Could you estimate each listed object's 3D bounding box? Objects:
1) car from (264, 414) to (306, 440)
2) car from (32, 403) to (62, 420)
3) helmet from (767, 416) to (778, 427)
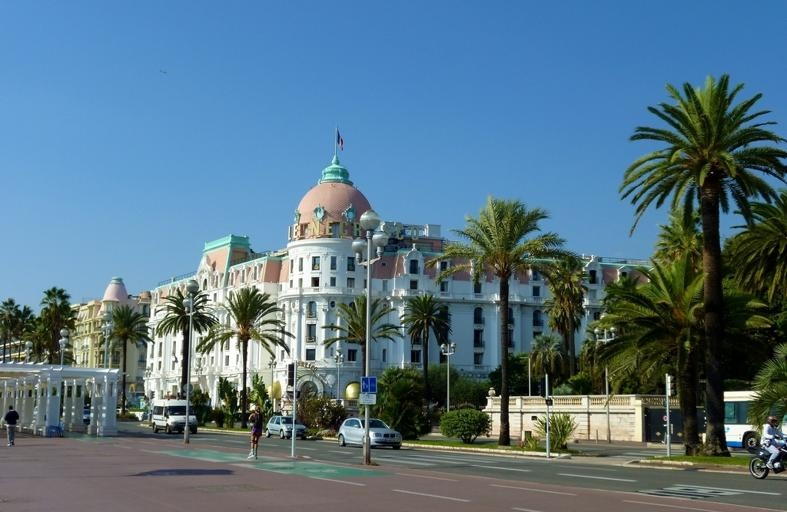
[{"bbox_3d":[-7.841,12.656,66.325,2.055,1.882,6.059,5,-14,-18],"label":"car"},{"bbox_3d":[-23.598,10.659,61.005,1.004,1.135,4.081,8,-15,-29],"label":"car"},{"bbox_3d":[16.552,7.169,38.826,0.352,0.357,0.320,-8,-10,33],"label":"helmet"}]
